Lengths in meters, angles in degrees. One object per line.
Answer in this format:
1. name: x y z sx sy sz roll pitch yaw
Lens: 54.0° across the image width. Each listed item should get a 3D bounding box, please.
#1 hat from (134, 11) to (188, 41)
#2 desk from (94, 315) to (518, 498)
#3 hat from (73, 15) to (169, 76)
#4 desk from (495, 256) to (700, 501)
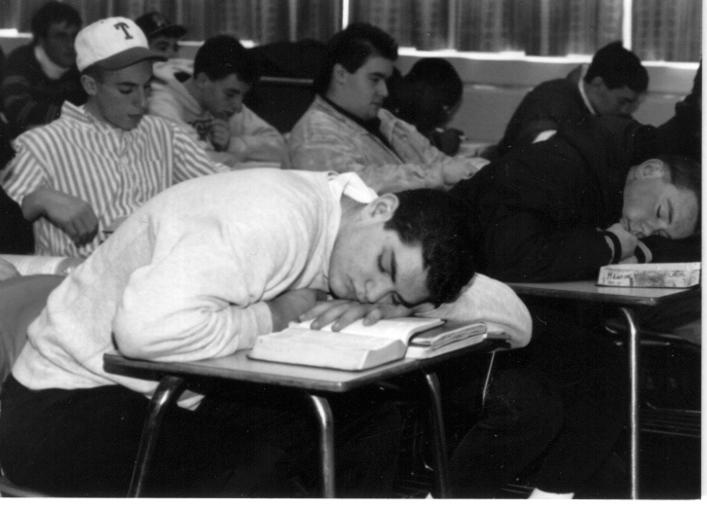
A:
1. hat: -0.552 -0.661 2.009 0.121 0.060 0.081 -16 7 11
2. desk: -0.075 0.206 1.443 0.525 0.328 0.638 0 1 27
3. hat: -0.672 -0.598 1.994 0.197 0.093 0.144 -1 23 26
4. desk: 0.731 0.313 2.191 0.658 0.580 0.635 1 5 22
